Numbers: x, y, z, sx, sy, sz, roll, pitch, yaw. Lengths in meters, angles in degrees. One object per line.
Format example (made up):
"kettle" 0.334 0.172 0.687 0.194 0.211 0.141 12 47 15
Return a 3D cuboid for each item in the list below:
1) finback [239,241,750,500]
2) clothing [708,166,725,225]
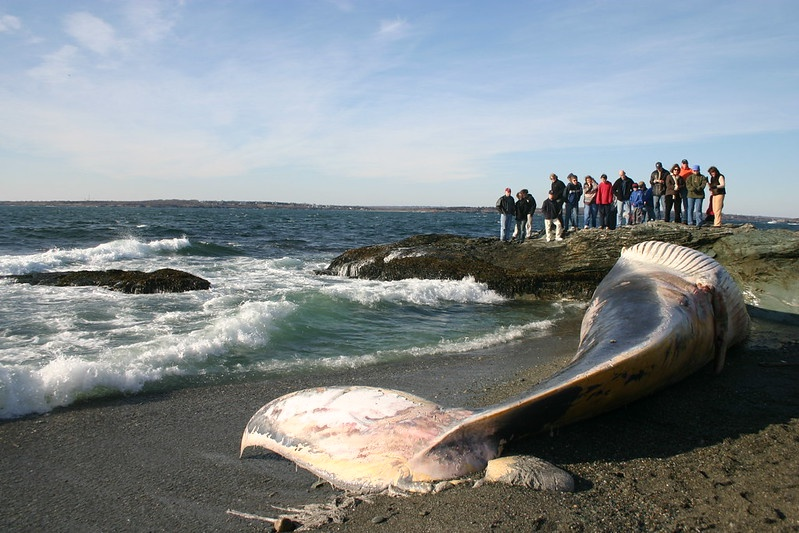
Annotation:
"finback" 1.567 0.945 5.175 4.319 1.000 2.425 -16 13 -32
"clothing" 7.494 -1.677 12.824 0.347 1.346 1.634 6 10 28
